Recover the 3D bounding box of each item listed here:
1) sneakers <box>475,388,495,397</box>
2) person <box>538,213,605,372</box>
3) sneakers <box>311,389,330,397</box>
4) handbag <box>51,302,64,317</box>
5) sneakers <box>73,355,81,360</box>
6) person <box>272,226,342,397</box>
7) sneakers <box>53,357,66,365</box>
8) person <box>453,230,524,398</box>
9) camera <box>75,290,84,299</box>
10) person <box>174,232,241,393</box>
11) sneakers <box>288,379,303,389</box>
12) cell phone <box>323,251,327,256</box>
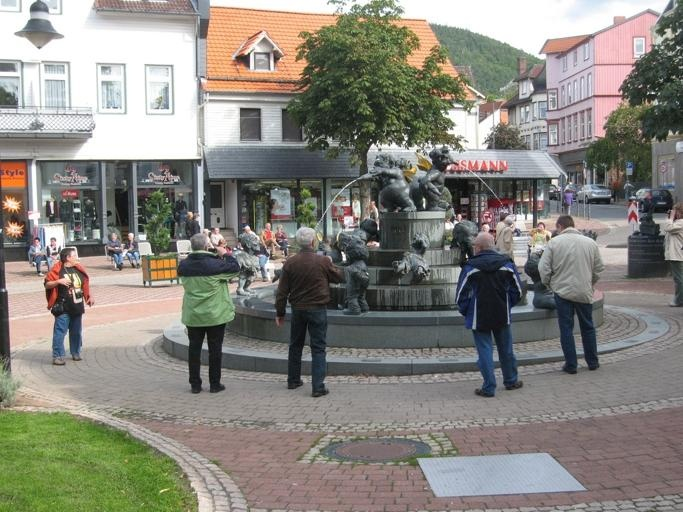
[{"bbox_3d":[1.961,1.891,11.746,0.214,0.098,0.116,10,8,35],"label":"sneakers"},{"bbox_3d":[3.463,0.579,12.862,0.883,2.337,0.735,-1,-1,3],"label":"person"},{"bbox_3d":[-0.317,1.932,11.986,0.086,0.110,0.244,4,9,32],"label":"sneakers"},{"bbox_3d":[-4.700,0.888,14.059,0.167,0.335,0.223,-3,4,-18],"label":"handbag"},{"bbox_3d":[-4.499,1.747,14.474,0.059,0.080,0.174,7,-7,-37],"label":"sneakers"},{"bbox_3d":[-0.483,0.783,12.221,0.846,2.321,0.643,4,9,34],"label":"person"},{"bbox_3d":[-4.698,1.756,14.170,0.096,0.105,0.232,0,-10,-33],"label":"sneakers"},{"bbox_3d":[2.081,0.817,11.876,0.908,2.170,0.668,-1,8,3],"label":"person"},{"bbox_3d":[-4.381,0.650,14.264,0.150,0.153,0.102,-6,25,-21],"label":"camera"},{"bbox_3d":[-1.945,0.835,12.430,0.816,2.252,0.525,-3,8,-11],"label":"person"},{"bbox_3d":[-0.678,1.887,12.453,0.086,0.110,0.243,4,8,30],"label":"sneakers"},{"bbox_3d":[-0.323,-0.031,16.112,0.065,0.069,0.037,-2,-16,-3],"label":"cell phone"}]
